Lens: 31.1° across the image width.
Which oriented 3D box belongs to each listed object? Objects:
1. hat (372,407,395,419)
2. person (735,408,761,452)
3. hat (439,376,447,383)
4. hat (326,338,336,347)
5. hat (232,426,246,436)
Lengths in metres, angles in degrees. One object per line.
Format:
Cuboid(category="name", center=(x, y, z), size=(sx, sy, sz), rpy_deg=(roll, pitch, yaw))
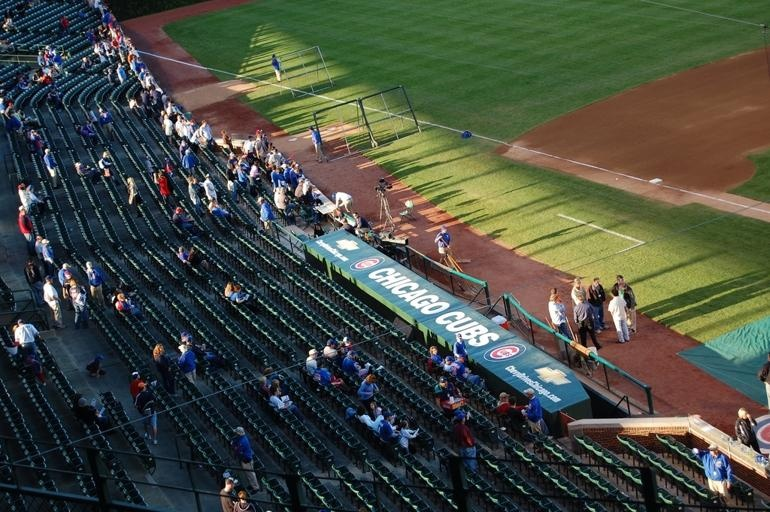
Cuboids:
Cuboid(category="hat", center=(-0.067, 5.017, 43.786), size=(0.595, 0.196, 0.397), rpy_deg=(9, 2, -30))
Cuboid(category="person", center=(11.281, 5.541, 43.049), size=(0.681, 1.763, 1.309), rpy_deg=(-5, 35, 14))
Cuboid(category="hat", center=(1.882, 4.017, 44.477), size=(0.223, 0.135, 0.184), rpy_deg=(5, 38, 6))
Cuboid(category="hat", center=(-1.758, 2.929, 46.194), size=(0.245, 0.244, 0.217), rpy_deg=(-1, 14, -32))
Cuboid(category="hat", center=(-4.551, 5.514, 43.195), size=(0.419, 0.182, 0.253), rpy_deg=(25, 20, 2))
